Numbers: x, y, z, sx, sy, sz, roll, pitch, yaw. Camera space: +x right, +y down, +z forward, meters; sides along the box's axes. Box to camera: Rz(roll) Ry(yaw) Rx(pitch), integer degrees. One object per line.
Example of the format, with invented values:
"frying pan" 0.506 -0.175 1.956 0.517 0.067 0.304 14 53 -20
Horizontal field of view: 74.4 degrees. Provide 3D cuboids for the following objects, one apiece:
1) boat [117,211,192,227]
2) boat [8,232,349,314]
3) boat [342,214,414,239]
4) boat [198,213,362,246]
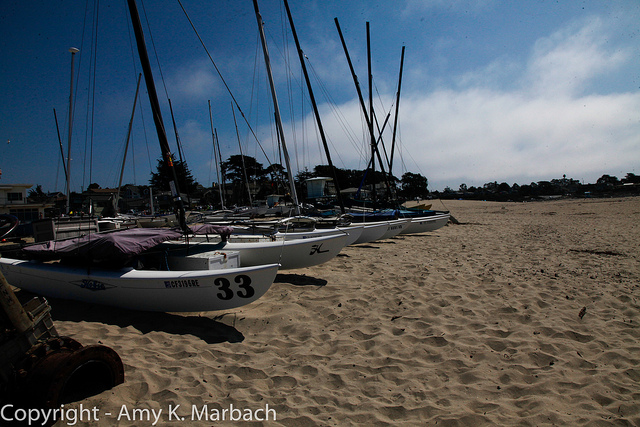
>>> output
"boat" -6.640 0.230 16.733 2.677 0.634 0.629 -2 6 -8
"boat" -3.553 1.183 8.924 4.529 0.941 2.800 0 2 17
"boat" 2.321 0.431 16.256 2.466 0.775 1.142 -3 -3 0
"boat" -1.037 0.472 12.205 4.876 1.013 1.075 1 6 3
